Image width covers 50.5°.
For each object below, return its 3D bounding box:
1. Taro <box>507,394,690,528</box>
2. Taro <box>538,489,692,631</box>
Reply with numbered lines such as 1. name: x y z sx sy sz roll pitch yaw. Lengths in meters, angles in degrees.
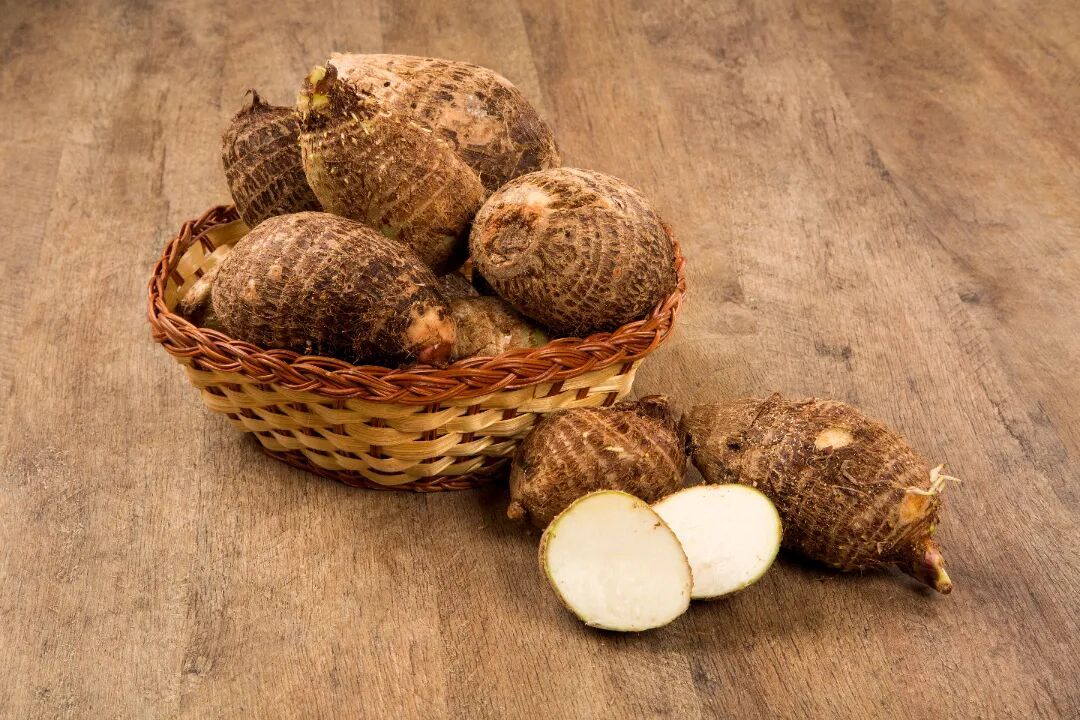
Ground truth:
1. Taro: 0.090 0.157 1.935 0.272 0.158 0.189 -15 35 -19
2. Taro: 0.122 0.336 1.847 0.235 0.150 0.180 38 60 21
